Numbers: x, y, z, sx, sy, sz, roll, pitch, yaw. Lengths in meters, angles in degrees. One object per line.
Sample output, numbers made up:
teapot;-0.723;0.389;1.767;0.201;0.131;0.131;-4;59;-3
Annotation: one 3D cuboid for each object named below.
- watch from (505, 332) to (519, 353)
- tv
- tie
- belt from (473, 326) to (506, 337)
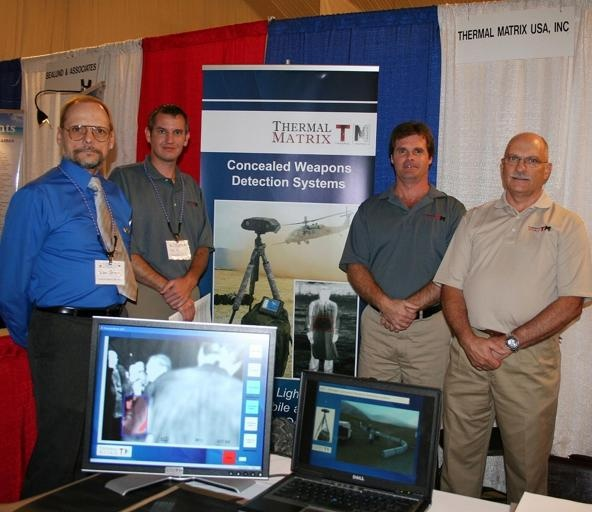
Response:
watch;1.042;0.412;2.742;0.024;0.077;0.060;-18;32;50
tv;-0.394;0.514;1.904;0.544;0.495;0.062;4;1;1
tie;-0.870;-0.068;2.725;0.204;0.596;0.051;-4;34;-20
belt;0.977;0.389;2.865;0.171;0.031;0.026;6;-8;44
